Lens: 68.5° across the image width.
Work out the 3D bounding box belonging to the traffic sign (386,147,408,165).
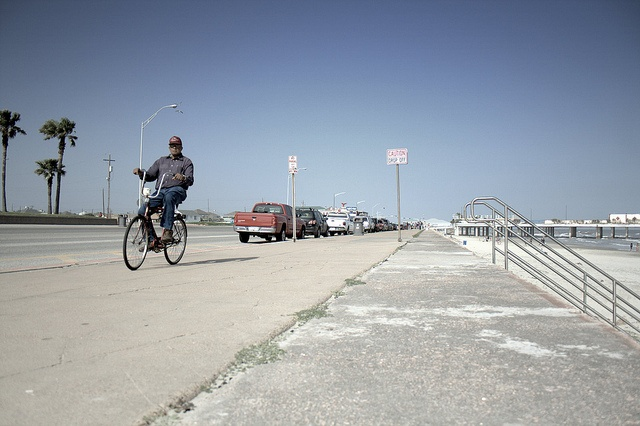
[{"bbox_3d":[5.016,-3.761,31.003,1.228,0.981,2.325,2,7,12],"label":"traffic sign"}]

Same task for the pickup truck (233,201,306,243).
[{"bbox_3d":[-2.747,0.462,25.399,2.248,2.026,5.587,1,1,19],"label":"pickup truck"}]

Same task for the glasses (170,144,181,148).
[{"bbox_3d":[-3.335,-1.566,10.871,0.130,0.100,0.219,3,-7,-1],"label":"glasses"}]
